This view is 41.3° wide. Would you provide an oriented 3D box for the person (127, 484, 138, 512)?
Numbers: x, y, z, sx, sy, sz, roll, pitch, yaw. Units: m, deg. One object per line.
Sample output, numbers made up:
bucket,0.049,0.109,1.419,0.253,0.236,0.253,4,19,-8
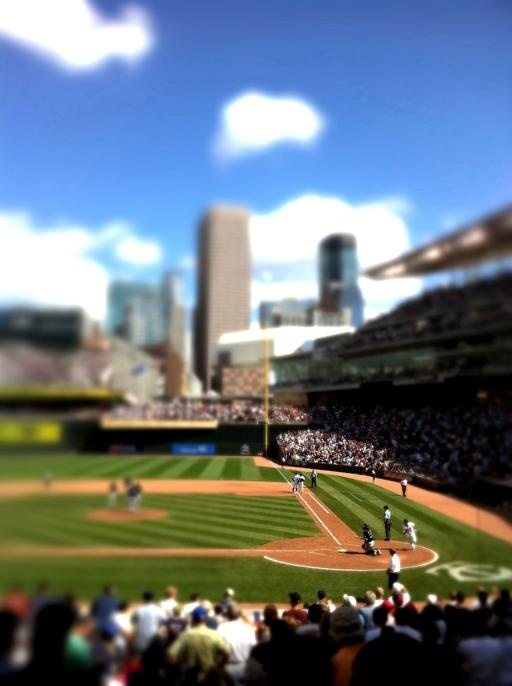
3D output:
person,-4.082,5.136,22.732,0.370,0.952,1.071,0,-5,-11
